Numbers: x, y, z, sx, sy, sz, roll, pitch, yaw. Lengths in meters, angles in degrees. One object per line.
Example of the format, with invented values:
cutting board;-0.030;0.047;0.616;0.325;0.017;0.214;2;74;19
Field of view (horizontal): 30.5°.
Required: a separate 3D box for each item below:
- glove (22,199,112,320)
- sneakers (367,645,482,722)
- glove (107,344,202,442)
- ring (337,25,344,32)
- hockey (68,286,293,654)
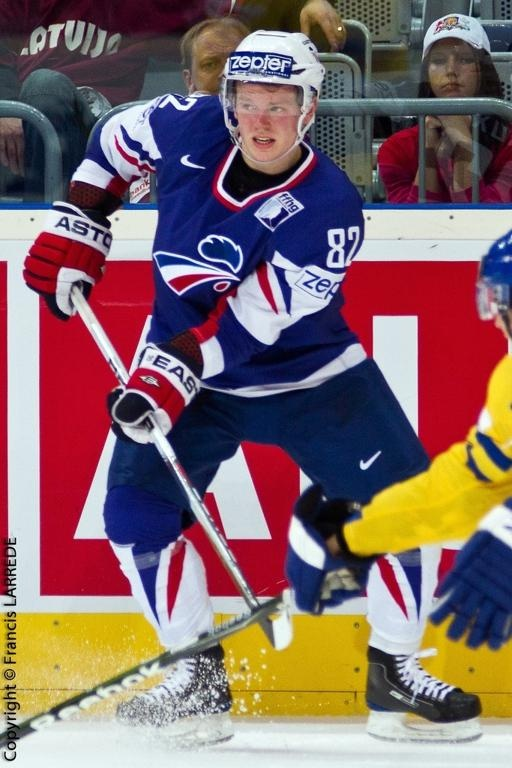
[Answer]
glove;-0.446;-0.289;2.226;0.215;0.260;0.121;31;4;0
sneakers;0.389;0.711;2.295;0.364;0.203;0.115;1;7;15
glove;-0.199;0.020;1.953;0.160;0.208;0.097;45;7;19
ring;0.223;-0.942;2.480;0.019;0.016;0.004;2;-7;-19
hockey;-0.159;0.167;2.137;0.111;1.073;0.167;-42;-15;25
